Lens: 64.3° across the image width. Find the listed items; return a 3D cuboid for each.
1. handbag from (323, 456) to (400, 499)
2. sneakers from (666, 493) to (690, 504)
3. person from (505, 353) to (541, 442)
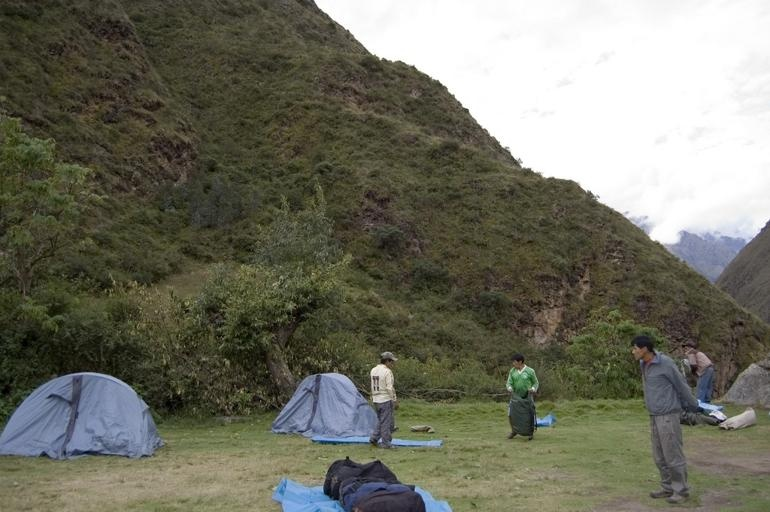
[{"bbox_3d":[-0.962,6.871,19.225,1.649,0.747,1.365,-6,-8,17],"label":"handbag"},{"bbox_3d":[8.996,7.446,18.905,0.662,0.289,0.264,2,-11,-2],"label":"sneakers"},{"bbox_3d":[5.486,5.612,24.586,1.126,3.463,1.209,0,4,12],"label":"person"}]
